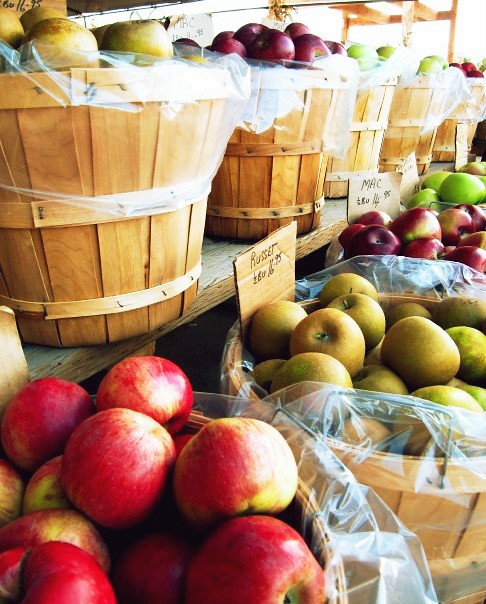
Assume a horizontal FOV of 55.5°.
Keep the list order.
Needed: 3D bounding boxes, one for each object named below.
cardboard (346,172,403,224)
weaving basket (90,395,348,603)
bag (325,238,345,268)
[{"bbox_3d":[0.412,-0.318,1.443,0.233,0.157,0.024,-18,26,-29],"label":"cardboard"},{"bbox_3d":[-0.005,0.186,0.400,0.156,0.109,0.153,-6,23,-33],"label":"weaving basket"},{"bbox_3d":[0.256,-0.141,1.367,0.073,0.082,0.072,3,61,6],"label":"bag"}]
